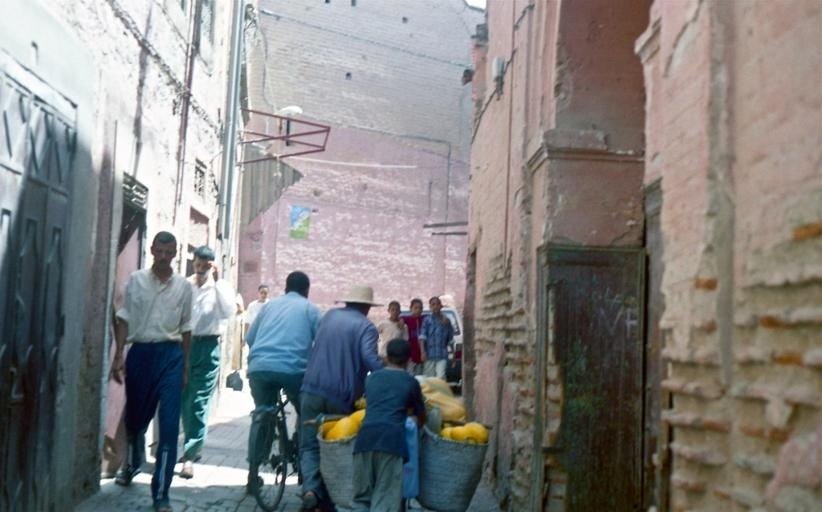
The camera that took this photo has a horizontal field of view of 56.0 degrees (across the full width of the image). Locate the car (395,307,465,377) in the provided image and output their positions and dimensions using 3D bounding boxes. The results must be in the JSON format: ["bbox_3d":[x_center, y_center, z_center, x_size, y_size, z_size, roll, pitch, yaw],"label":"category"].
[{"bbox_3d":[0.601,1.782,16.634,0.932,1.759,0.934,1,-15,2],"label":"car"}]

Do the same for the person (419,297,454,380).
[{"bbox_3d":[0.397,1.397,13.323,0.529,1.383,0.646,-1,-12,10],"label":"person"}]

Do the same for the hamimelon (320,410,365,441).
[{"bbox_3d":[-0.592,1.454,6.544,0.203,0.209,0.369,8,6,8],"label":"hamimelon"}]

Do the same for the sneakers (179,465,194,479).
[{"bbox_3d":[-2.287,2.211,7.880,0.070,0.148,0.221,8,-33,-10],"label":"sneakers"}]

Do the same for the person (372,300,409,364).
[{"bbox_3d":[-0.333,1.356,12.747,0.548,1.216,0.373,0,21,-7],"label":"person"}]

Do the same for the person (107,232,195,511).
[{"bbox_3d":[-2.385,1.031,7.067,0.656,2.429,0.825,5,-12,-18],"label":"person"}]
